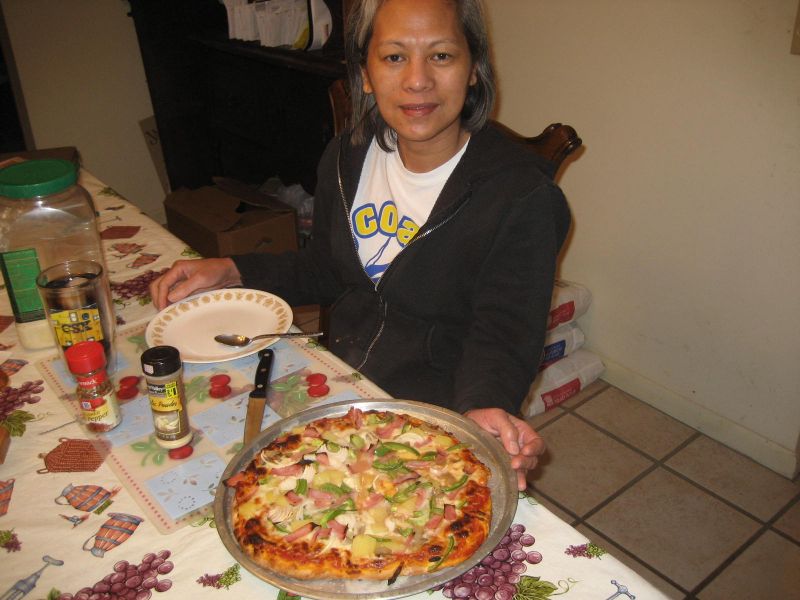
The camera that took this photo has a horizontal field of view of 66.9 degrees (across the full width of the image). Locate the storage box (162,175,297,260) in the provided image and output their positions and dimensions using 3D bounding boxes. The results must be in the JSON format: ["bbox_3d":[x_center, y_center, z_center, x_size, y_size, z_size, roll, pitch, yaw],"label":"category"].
[{"bbox_3d":[-0.945,-0.469,3.293,0.450,0.243,0.778,-20,37,-29],"label":"storage box"}]

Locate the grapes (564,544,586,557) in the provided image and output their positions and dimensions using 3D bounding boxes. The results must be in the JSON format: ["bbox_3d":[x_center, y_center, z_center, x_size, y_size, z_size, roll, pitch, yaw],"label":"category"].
[{"bbox_3d":[0.318,0.456,1.106,0.026,0.008,0.018,5,28,36],"label":"grapes"}]

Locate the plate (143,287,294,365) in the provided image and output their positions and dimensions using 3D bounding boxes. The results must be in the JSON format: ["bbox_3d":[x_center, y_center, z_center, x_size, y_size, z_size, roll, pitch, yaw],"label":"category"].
[{"bbox_3d":[-0.498,0.048,1.638,0.242,0.024,0.238,-24,43,-33],"label":"plate"}]
